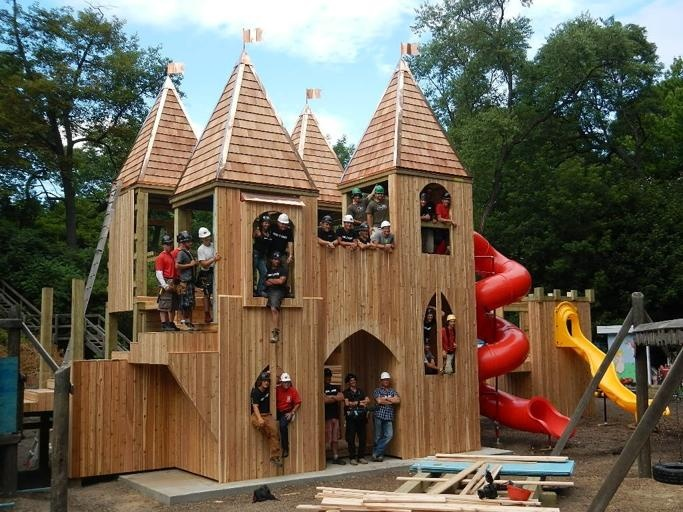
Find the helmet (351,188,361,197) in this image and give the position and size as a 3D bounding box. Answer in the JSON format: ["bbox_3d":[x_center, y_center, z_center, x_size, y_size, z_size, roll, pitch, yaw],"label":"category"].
[{"bbox_3d":[0.452,-1.855,28.138,0.212,0.217,0.264,-1,-7,-33],"label":"helmet"}]

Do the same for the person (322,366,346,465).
[{"bbox_3d":[-0.231,4.380,26.357,0.425,2.337,0.618,5,-2,-23],"label":"person"}]

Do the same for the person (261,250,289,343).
[{"bbox_3d":[-1.722,1.067,25.345,0.542,2.343,0.333,1,-8,-6],"label":"person"}]

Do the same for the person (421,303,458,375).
[{"bbox_3d":[2.792,2.231,27.757,0.738,2.234,0.703,-1,-1,-3],"label":"person"}]

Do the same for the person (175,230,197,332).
[{"bbox_3d":[-4.079,0.668,25.544,0.707,2.315,0.756,-1,-2,21],"label":"person"}]

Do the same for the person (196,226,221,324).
[{"bbox_3d":[-3.516,0.462,25.520,0.581,2.568,1.342,2,-8,-9],"label":"person"}]

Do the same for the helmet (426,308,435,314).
[{"bbox_3d":[2.539,1.547,27.573,0.300,0.168,0.170,-4,2,7],"label":"helmet"}]

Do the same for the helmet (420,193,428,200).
[{"bbox_3d":[2.401,-1.733,28.106,0.166,0.171,0.219,4,12,1],"label":"helmet"}]

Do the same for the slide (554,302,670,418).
[{"bbox_3d":[8.789,3.310,31.931,3.304,4.148,3.382,2,-3,-35],"label":"slide"}]

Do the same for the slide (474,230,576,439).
[{"bbox_3d":[5.266,2.339,29.546,2.335,6.172,2.152,-1,-8,8],"label":"slide"}]

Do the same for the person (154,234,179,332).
[{"bbox_3d":[-4.568,0.719,25.483,0.496,2.444,0.600,4,-1,-12],"label":"person"}]

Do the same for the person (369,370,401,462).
[{"bbox_3d":[1.203,4.393,26.722,0.689,2.468,0.595,3,-9,-21],"label":"person"}]

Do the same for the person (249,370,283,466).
[{"bbox_3d":[-1.964,4.123,25.037,0.732,2.422,0.730,6,-2,41],"label":"person"}]
